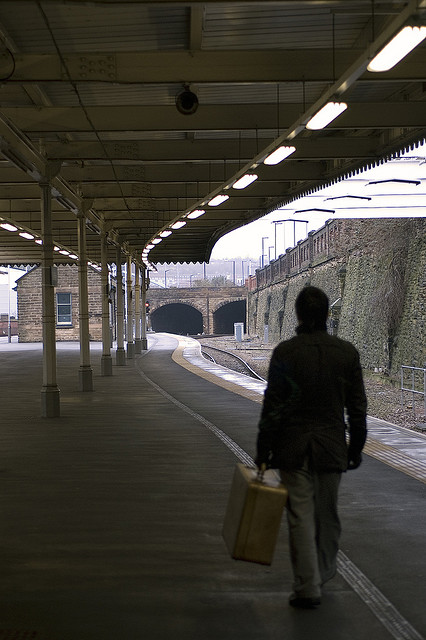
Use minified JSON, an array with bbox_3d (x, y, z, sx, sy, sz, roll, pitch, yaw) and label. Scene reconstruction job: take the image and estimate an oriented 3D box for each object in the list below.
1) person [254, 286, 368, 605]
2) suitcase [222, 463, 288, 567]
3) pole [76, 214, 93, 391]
[{"bbox_3d":[0.515,0.653,3.157,0.643,1.628,0.298,-1,0,-23],"label":"person"},{"bbox_3d":[0.218,0.992,3.162,0.317,0.488,0.449,-1,0,0],"label":"suitcase"},{"bbox_3d":[-3.134,-0.461,15.046,0.545,4.102,0.513,6,9,41],"label":"pole"}]
